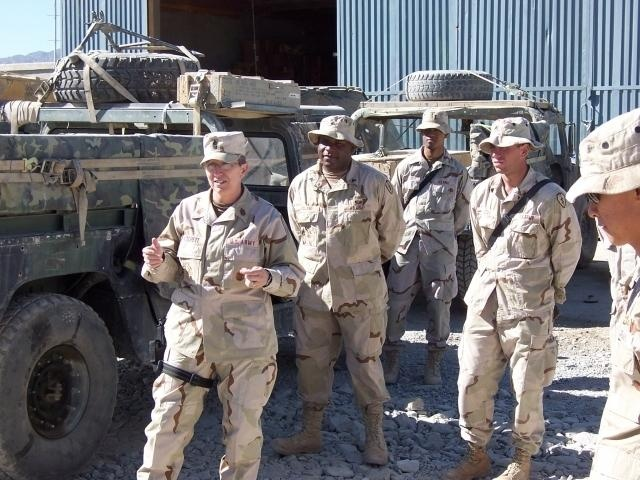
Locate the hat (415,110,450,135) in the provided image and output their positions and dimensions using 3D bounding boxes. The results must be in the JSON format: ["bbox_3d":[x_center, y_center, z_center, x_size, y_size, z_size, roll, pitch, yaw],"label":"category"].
[{"bbox_3d":[0.983,-1.008,6.668,0.240,0.141,0.192,4,6,-21],"label":"hat"}]

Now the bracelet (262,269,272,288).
[{"bbox_3d":[-0.276,0.209,4.091,0.028,0.079,0.063,-1,14,-5],"label":"bracelet"}]

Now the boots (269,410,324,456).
[{"bbox_3d":[-0.180,1.314,5.300,0.397,0.429,0.195,7,-4,-10],"label":"boots"}]

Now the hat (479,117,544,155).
[{"bbox_3d":[1.275,-0.685,4.945,0.305,0.167,0.281,1,6,-36],"label":"hat"}]

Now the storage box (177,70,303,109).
[{"bbox_3d":[-0.615,-1.120,5.893,0.398,0.254,0.717,7,7,40],"label":"storage box"}]

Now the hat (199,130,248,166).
[{"bbox_3d":[-0.578,-0.525,4.296,0.146,0.112,0.213,3,16,-18],"label":"hat"}]

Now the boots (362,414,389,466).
[{"bbox_3d":[0.370,1.316,5.207,0.146,0.319,0.435,-2,9,3],"label":"boots"}]
